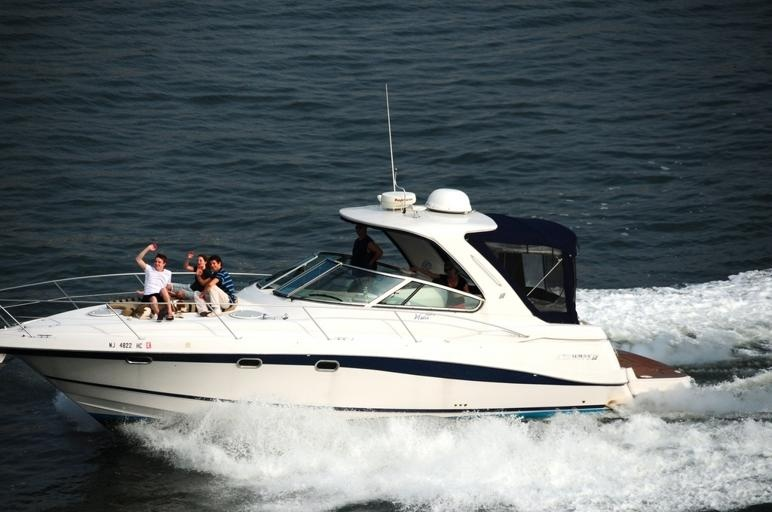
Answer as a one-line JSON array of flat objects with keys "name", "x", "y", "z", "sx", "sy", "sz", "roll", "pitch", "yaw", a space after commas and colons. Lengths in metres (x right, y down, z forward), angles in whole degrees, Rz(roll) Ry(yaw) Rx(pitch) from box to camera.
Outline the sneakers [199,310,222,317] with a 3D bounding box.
[{"name": "sneakers", "x": -3.952, "y": 1.287, "z": 28.076, "sx": 0.544, "sy": 0.124, "sz": 0.136, "roll": -1, "pitch": 4, "yaw": 4}]

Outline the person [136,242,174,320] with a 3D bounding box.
[{"name": "person", "x": -5.134, "y": 0.562, "z": 28.009, "sx": 0.736, "sy": 1.616, "sz": 1.173, "roll": -12, "pitch": 26, "yaw": -9}]

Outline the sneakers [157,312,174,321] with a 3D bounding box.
[{"name": "sneakers", "x": -4.894, "y": 1.318, "z": 27.868, "sx": 0.358, "sy": 0.201, "sz": 0.140, "roll": -5, "pitch": 25, "yaw": -3}]
